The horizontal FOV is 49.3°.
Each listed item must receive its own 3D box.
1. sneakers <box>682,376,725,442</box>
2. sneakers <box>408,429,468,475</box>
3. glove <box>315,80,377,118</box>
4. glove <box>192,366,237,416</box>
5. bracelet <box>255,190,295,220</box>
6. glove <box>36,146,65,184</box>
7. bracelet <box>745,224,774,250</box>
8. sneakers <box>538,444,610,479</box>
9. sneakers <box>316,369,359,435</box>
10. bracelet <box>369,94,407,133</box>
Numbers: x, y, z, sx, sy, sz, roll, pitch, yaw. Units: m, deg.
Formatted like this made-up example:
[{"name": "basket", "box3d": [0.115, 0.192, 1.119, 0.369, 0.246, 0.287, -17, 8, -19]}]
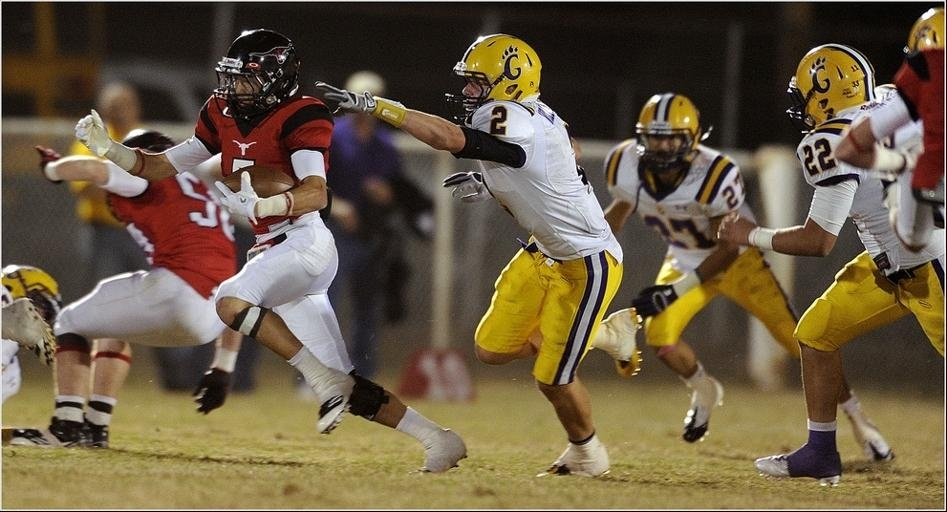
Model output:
[{"name": "sneakers", "box3d": [2.065, 1.405, 9.252, 0.302, 0.598, 0.213, 3, 21, -45]}, {"name": "sneakers", "box3d": [-0.283, 1.584, 8.229, 0.375, 0.245, 0.187, -15, 4, -12]}, {"name": "glove", "box3d": [-0.955, -1.190, 7.878, 0.448, 0.214, 0.295, 2, 10, -1]}, {"name": "glove", "box3d": [-2.161, 1.119, 8.575, 0.266, 0.441, 0.139, 29, -23, -8]}, {"name": "bracelet", "box3d": [-1.493, -0.362, 7.770, 0.256, 0.182, 0.108, -10, 26, -6]}, {"name": "glove", "box3d": [-3.493, -0.742, 8.512, 0.163, 0.306, 0.788, -2, 10, -22]}, {"name": "bracelet", "box3d": [2.276, -0.132, 8.185, 0.193, 0.168, 0.186, 4, 10, 9]}, {"name": "sneakers", "box3d": [0.873, 1.665, 8.268, 0.715, 0.232, 0.217, 0, -6, 4]}, {"name": "sneakers", "box3d": [-1.057, 1.125, 7.907, 0.286, 0.518, 0.198, 13, 0, -12]}, {"name": "bracelet", "box3d": [-0.621, -1.097, 7.913, 0.333, 0.175, 0.132, 19, 16, 10]}]
